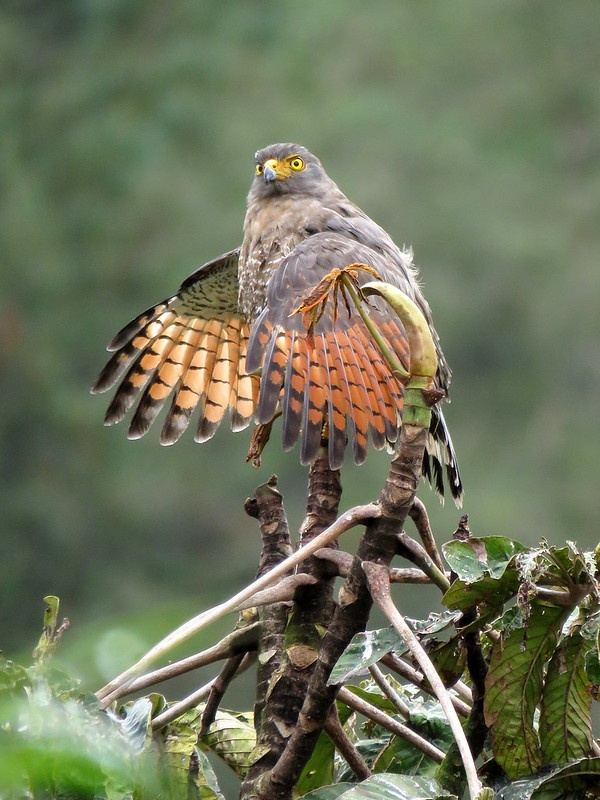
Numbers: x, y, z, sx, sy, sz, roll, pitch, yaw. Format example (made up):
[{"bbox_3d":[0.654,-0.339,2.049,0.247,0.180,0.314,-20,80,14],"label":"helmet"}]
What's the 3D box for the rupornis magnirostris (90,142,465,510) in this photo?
[{"bbox_3d":[0.064,-0.132,1.881,0.621,0.447,0.736,0,3,-21],"label":"rupornis magnirostris"}]
